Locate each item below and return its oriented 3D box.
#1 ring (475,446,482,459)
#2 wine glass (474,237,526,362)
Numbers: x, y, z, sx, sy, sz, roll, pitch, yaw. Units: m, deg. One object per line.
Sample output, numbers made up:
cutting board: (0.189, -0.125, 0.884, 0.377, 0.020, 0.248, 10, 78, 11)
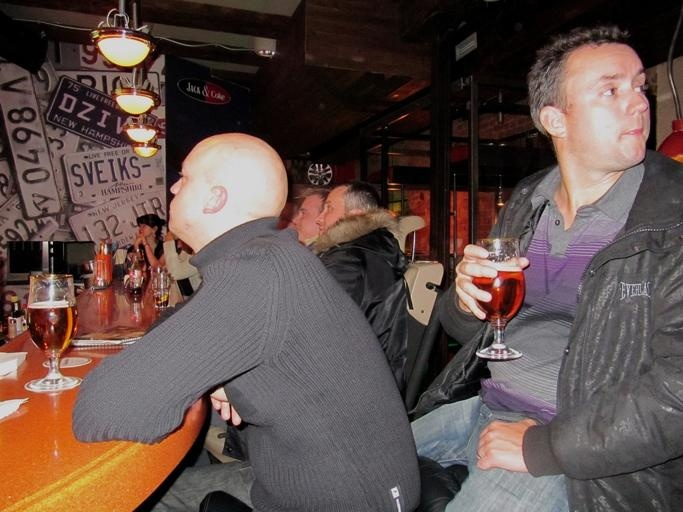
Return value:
ring: (0.429, 0.620, 1.599, 0.017, 0.043, 0.044, 5, -28, 0)
wine glass: (0.525, 0.144, 1.676, 0.168, 0.411, 0.332, 6, 8, 20)
